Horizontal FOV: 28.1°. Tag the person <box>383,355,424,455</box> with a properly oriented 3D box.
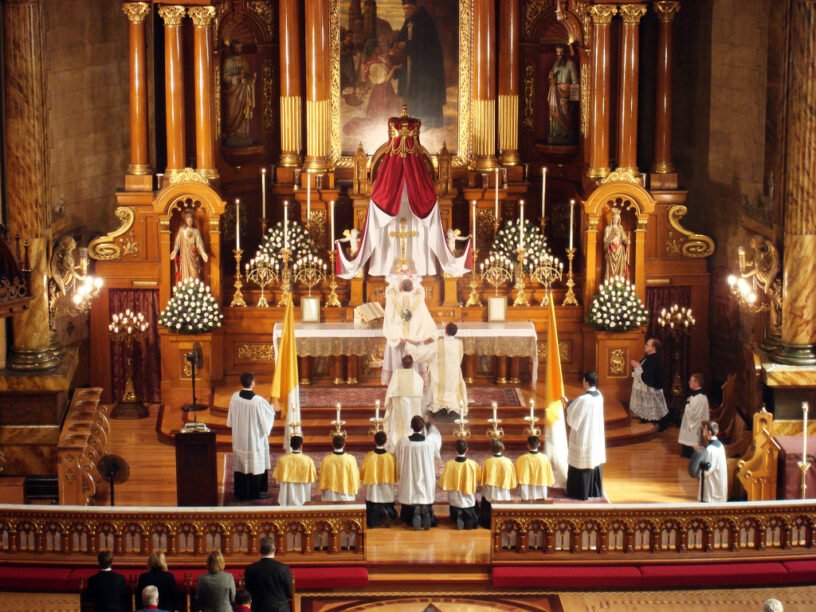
[{"bbox_3d":[-0.066,1.463,24.572,0.567,1.801,0.519,-4,26,-12],"label":"person"}]

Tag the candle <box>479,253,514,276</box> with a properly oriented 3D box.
[{"bbox_3d":[1.551,-0.744,28.274,0.557,0.386,0.310,-1,-3,1],"label":"candle"}]

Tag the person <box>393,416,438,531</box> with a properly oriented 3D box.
[{"bbox_3d":[0.173,2.236,23.184,0.605,1.540,0.505,2,22,8],"label":"person"}]

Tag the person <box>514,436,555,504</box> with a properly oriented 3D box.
[{"bbox_3d":[1.817,2.269,23.461,0.513,0.922,0.969,-2,-4,18],"label":"person"}]

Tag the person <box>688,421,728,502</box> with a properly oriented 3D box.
[{"bbox_3d":[4.312,2.186,23.401,0.504,1.125,1.232,-1,-4,11],"label":"person"}]

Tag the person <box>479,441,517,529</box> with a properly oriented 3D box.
[{"bbox_3d":[1.254,2.551,23.122,0.524,1.089,0.365,-1,-3,16],"label":"person"}]

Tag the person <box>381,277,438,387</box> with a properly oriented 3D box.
[{"bbox_3d":[-0.026,0.318,26.350,0.809,1.733,0.524,-3,34,-14],"label":"person"}]

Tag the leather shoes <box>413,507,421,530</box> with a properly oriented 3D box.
[{"bbox_3d":[0.121,2.958,23.094,0.091,0.305,0.112,0,-11,2],"label":"leather shoes"}]

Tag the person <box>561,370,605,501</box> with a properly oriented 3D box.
[{"bbox_3d":[2.649,1.994,24.325,0.569,1.698,0.477,-1,-3,3],"label":"person"}]

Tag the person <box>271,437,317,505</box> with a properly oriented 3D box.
[{"bbox_3d":[-1.614,2.289,23.271,0.591,0.989,0.534,0,-3,-4],"label":"person"}]

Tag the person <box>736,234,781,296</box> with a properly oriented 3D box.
[{"bbox_3d":[5.655,-0.697,26.054,0.585,0.921,0.576,7,32,38],"label":"person"}]

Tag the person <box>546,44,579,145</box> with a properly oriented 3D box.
[{"bbox_3d":[2.868,-3.900,30.119,0.562,1.753,0.733,-1,-3,4],"label":"person"}]

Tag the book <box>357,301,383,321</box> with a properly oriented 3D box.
[{"bbox_3d":[-0.637,0.071,27.264,0.454,0.321,0.459,0,-4,-2],"label":"book"}]

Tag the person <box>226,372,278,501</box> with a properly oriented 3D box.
[{"bbox_3d":[-2.353,1.924,24.352,0.688,1.894,0.847,0,-3,-7],"label":"person"}]

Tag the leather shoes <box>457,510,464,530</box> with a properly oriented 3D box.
[{"bbox_3d":[0.749,2.980,23.148,0.076,0.267,0.096,-3,-2,-3],"label":"leather shoes"}]

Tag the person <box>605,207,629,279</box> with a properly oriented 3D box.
[{"bbox_3d":[3.619,-1.139,28.038,0.478,1.220,0.445,0,-3,-4],"label":"person"}]

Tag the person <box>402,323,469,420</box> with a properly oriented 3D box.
[{"bbox_3d":[0.574,1.028,25.869,0.988,1.735,0.692,-5,14,-25],"label":"person"}]

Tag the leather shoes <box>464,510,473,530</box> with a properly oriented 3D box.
[{"bbox_3d":[0.876,2.987,23.216,0.074,0.281,0.102,-3,9,-5],"label":"leather shoes"}]

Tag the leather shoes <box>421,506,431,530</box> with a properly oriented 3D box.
[{"bbox_3d":[0.258,2.951,23.153,0.109,0.347,0.126,-1,-8,-12],"label":"leather shoes"}]

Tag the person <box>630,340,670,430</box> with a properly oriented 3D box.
[{"bbox_3d":[3.991,1.219,27.123,0.603,1.381,1.014,-1,-3,11],"label":"person"}]

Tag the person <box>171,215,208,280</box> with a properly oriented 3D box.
[{"bbox_3d":[-3.728,-1.047,27.822,0.664,1.183,0.429,0,-3,-11],"label":"person"}]

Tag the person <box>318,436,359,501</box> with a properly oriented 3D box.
[{"bbox_3d":[-0.966,2.341,23.155,0.554,1.338,0.351,8,34,10],"label":"person"}]

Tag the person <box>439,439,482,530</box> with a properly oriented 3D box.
[{"bbox_3d":[0.757,2.479,23.145,0.555,1.257,0.870,-1,-3,5],"label":"person"}]

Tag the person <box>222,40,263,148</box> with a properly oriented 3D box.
[{"bbox_3d":[-3.101,-3.955,30.325,0.425,1.986,0.967,-3,-4,40],"label":"person"}]

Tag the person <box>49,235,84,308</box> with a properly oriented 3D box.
[{"bbox_3d":[-5.505,-0.581,26.217,0.461,1.487,0.656,6,22,4],"label":"person"}]

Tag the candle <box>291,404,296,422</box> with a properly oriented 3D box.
[{"bbox_3d":[-1.704,1.551,24.330,0.107,0.248,0.090,0,-3,-5],"label":"candle"}]

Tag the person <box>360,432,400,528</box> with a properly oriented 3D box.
[{"bbox_3d":[-0.378,2.336,23.243,0.568,1.286,0.457,-2,24,-5],"label":"person"}]
